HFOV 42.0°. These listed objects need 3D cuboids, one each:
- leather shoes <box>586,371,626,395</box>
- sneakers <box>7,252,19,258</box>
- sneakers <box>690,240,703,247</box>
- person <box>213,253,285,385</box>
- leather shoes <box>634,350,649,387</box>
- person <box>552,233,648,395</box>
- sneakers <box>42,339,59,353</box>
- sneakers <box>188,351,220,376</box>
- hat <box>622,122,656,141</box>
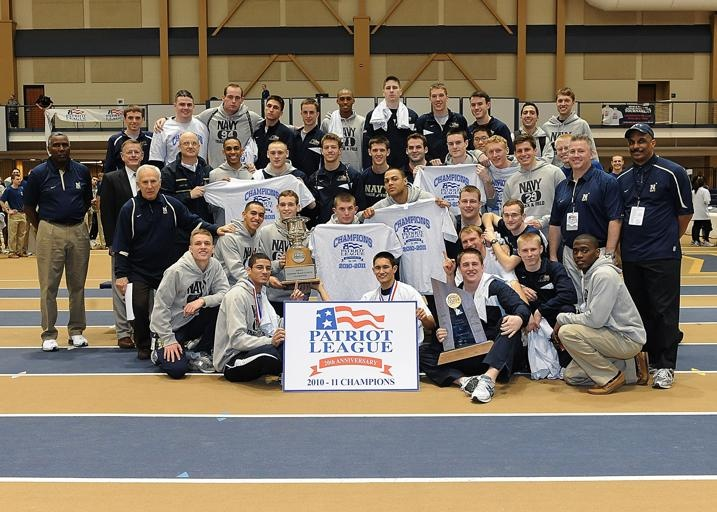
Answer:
[{"bbox_3d":[3.970,2.033,14.917,0.662,0.289,0.269,-26,12,-9],"label":"leather shoes"},{"bbox_3d":[-9.880,-0.027,26.605,0.502,0.206,0.156,-5,-8,35],"label":"sneakers"},{"bbox_3d":[10.881,-0.387,29.983,0.348,0.155,0.120,1,4,23],"label":"sneakers"},{"bbox_3d":[-1.802,1.027,15.148,1.136,2.028,0.773,-2,9,-8],"label":"person"},{"bbox_3d":[4.610,1.811,15.064,0.236,0.578,0.190,3,-3,-26],"label":"leather shoes"},{"bbox_3d":[3.853,0.919,14.835,1.398,2.444,0.596,2,9,12],"label":"person"},{"bbox_3d":[-5.498,1.573,16.595,0.279,0.199,0.232,-3,10,-13],"label":"sneakers"},{"bbox_3d":[-2.632,1.798,15.684,0.586,0.275,0.225,4,1,31],"label":"sneakers"},{"bbox_3d":[4.593,-2.037,15.244,0.418,0.234,0.289,2,10,12],"label":"hat"}]
